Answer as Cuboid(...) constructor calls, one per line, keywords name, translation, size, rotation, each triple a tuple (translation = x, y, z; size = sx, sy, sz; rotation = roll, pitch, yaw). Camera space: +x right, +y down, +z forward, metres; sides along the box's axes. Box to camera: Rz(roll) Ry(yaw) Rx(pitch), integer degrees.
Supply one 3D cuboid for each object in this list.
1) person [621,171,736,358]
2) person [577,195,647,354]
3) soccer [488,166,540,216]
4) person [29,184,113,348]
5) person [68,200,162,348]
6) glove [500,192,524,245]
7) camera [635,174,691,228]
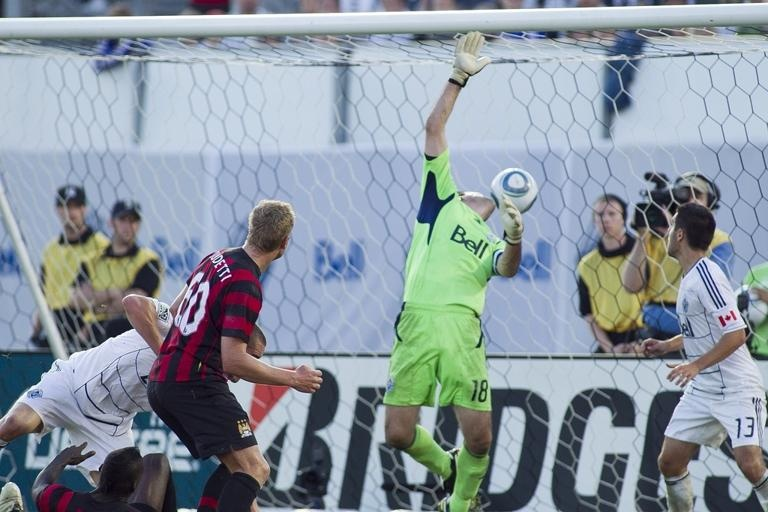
Cuboid(name="person", translation=(2.348, 0.115, 9.110), size=(0.572, 1.846, 0.705), rotation=(25, -33, -28))
Cuboid(name="person", translation=(1.959, 0.428, 9.662), size=(0.559, 1.895, 0.462), rotation=(7, 23, 41))
Cuboid(name="soccer", translation=(0.959, -0.441, 8.454), size=(0.316, 0.320, 0.321), rotation=(19, -24, -35))
Cuboid(name="person", translation=(-2.710, 0.364, 9.941), size=(0.602, 1.869, 0.465), rotation=(-6, -14, 8))
Cuboid(name="person", translation=(-2.333, 0.219, 10.054), size=(0.499, 1.630, 0.517), rotation=(3, 12, 23))
Cuboid(name="glove", translation=(0.911, -0.268, 8.246), size=(0.160, 0.302, 0.197), rotation=(3, 1, 7))
Cuboid(name="camera", translation=(2.328, -0.459, 9.635), size=(0.344, 0.485, 0.307), rotation=(0, 12, 2))
